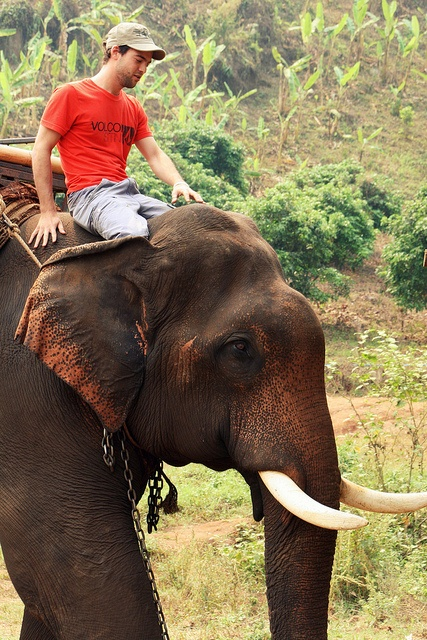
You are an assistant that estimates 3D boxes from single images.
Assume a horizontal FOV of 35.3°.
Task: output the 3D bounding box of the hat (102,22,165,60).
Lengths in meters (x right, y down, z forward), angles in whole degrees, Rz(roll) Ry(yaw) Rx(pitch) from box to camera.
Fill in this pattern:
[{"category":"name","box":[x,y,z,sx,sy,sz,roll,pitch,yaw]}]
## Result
[{"category":"hat","box":[-0.280,-0.986,2.384,0.204,0.092,0.125,7,9,17]}]
